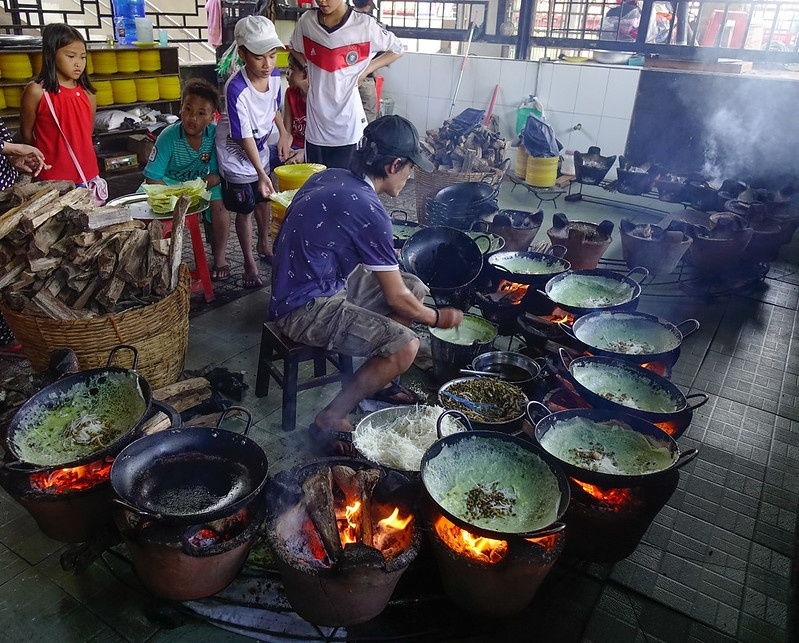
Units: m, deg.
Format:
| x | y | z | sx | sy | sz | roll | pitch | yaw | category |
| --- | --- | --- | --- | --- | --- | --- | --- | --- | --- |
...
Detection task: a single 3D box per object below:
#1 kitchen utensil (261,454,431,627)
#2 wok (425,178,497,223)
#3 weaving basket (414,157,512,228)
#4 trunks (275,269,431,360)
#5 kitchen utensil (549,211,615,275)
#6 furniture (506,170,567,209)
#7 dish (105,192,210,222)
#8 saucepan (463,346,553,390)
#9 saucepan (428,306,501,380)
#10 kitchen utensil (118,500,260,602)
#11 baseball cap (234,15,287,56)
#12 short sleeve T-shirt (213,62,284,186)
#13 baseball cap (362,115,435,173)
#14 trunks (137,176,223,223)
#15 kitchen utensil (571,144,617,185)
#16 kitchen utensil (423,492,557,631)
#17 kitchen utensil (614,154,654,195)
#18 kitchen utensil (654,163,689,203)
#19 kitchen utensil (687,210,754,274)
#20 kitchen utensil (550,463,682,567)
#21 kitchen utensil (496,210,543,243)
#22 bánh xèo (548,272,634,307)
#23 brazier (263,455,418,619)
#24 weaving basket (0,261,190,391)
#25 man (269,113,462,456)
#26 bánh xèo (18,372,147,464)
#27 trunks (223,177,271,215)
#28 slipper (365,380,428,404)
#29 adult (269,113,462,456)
| x | y | z | sx | sy | sz | roll | pitch | yaw | category |
| --- | --- | --- | --- | --- | --- | --- | --- | --- | --- |
| -0.268 | 1.075 | 2.564 | 0.689 | 0.528 | 0.777 | 0 | 17 | -13 | kitchen utensil |
| 0.684 | -1.282 | 5.932 | 0.531 | 0.244 | 0.636 | 25 | 44 | 38 | wok |
| 0.790 | -1.719 | 6.928 | 0.950 | 0.676 | 0.908 | -13 | 26 | -29 | weaving basket |
| -0.345 | 0.033 | 3.502 | 0.790 | 0.233 | 0.689 | 1 | 28 | -9 | trunks |
| 1.878 | -0.764 | 5.787 | 0.663 | 0.485 | 0.707 | -20 | 36 | -33 | kitchen utensil |
| 2.145 | -2.038 | 8.320 | 0.884 | 0.381 | 1.300 | 13 | 27 | 15 | furniture |
| -2.096 | -0.947 | 4.563 | 0.535 | 0.055 | 0.529 | -2 | 31 | -15 | dish |
| 0.808 | 0.360 | 3.839 | 0.386 | 0.123 | 0.339 | -22 | 44 | -29 | saucepan |
| 0.460 | 0.223 | 4.214 | 0.547 | 0.464 | 0.517 | 1 | 29 | -15 | saucepan |
| -1.010 | 1.061 | 2.599 | 0.559 | 0.327 | 0.530 | 9 | 22 | -9 | kitchen utensil |
| -1.252 | -2.526 | 4.759 | 0.388 | 0.308 | 0.262 | -2 | 27 | -14 | baseball cap |
| -1.499 | -1.879 | 5.188 | 0.495 | 1.017 | 0.699 | 6 | 26 | 0 | short sleeve T-shirt |
| -0.001 | -1.112 | 3.312 | 0.484 | 0.270 | 0.331 | 13 | 21 | -4 | baseball cap |
| -1.905 | -1.089 | 4.766 | 0.600 | 0.209 | 0.587 | 2 | 19 | -1 | trunks |
| 2.852 | -2.314 | 8.022 | 0.697 | 0.493 | 0.712 | 18 | 36 | 21 | kitchen utensil |
| 0.480 | 1.161 | 2.718 | 0.684 | 0.500 | 0.731 | 3 | 14 | 0 | kitchen utensil |
| 3.353 | -2.085 | 7.610 | 0.516 | 0.408 | 1.444 | 15 | 27 | 19 | kitchen utensil |
| 3.567 | -1.794 | 7.120 | 0.405 | 0.308 | 0.976 | 16 | 28 | 20 | kitchen utensil |
| 3.483 | -0.797 | 5.883 | 0.671 | 0.724 | 0.451 | -15 | 33 | -35 | kitchen utensil |
| 1.149 | 1.041 | 2.875 | 0.510 | 0.377 | 0.452 | 14 | -16 | -19 | kitchen utensil |
| 1.266 | -1.007 | 5.802 | 0.469 | 0.381 | 0.622 | 11 | 26 | 12 | kitchen utensil |
| 1.530 | -0.247 | 4.266 | 0.667 | 0.153 | 0.494 | 15 | 27 | 19 | bánh xèo |
| -0.289 | 1.137 | 2.614 | 0.692 | 0.490 | 0.719 | 8 | 18 | 6 | brazier |
| -1.985 | 0.036 | 3.622 | 1.011 | 0.560 | 0.857 | -9 | 21 | -32 | weaving basket |
| -0.216 | -0.273 | 3.782 | 1.358 | 2.081 | 1.281 | 11 | 16 | 9 | man |
| -1.743 | 0.532 | 2.921 | 0.445 | 0.142 | 0.538 | 29 | 48 | 14 | bánh xèo |
| -1.487 | -1.189 | 5.343 | 0.507 | 0.466 | 0.295 | 3 | 67 | -8 | trunks |
| -0.024 | 0.549 | 3.986 | 0.478 | 0.123 | 0.167 | 7 | 33 | -8 | slipper |
| -0.205 | -0.285 | 3.792 | 1.328 | 2.121 | 1.242 | 12 | 16 | 9 | adult |
